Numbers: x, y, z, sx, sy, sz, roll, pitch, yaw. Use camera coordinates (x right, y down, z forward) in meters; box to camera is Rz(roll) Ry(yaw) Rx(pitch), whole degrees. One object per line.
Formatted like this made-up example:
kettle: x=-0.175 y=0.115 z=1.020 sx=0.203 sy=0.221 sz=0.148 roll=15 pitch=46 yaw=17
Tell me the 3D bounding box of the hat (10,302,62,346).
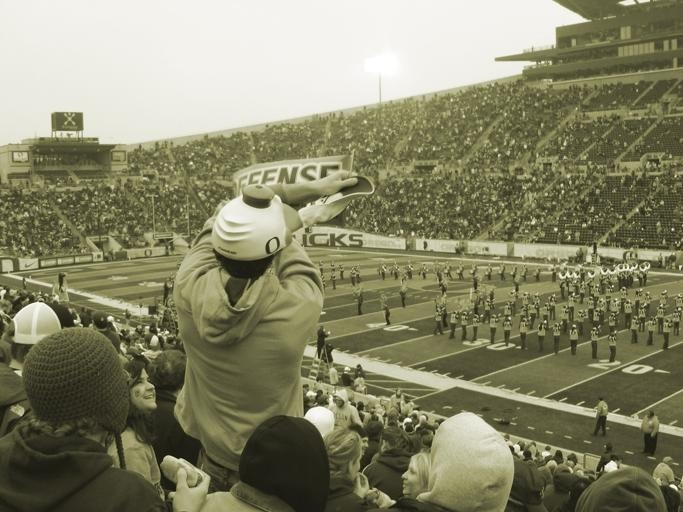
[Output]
hat: x=-5.226 y=1.108 z=15.331 sx=0.970 sy=0.642 sz=0.838 roll=2 pitch=11 yaw=-7
